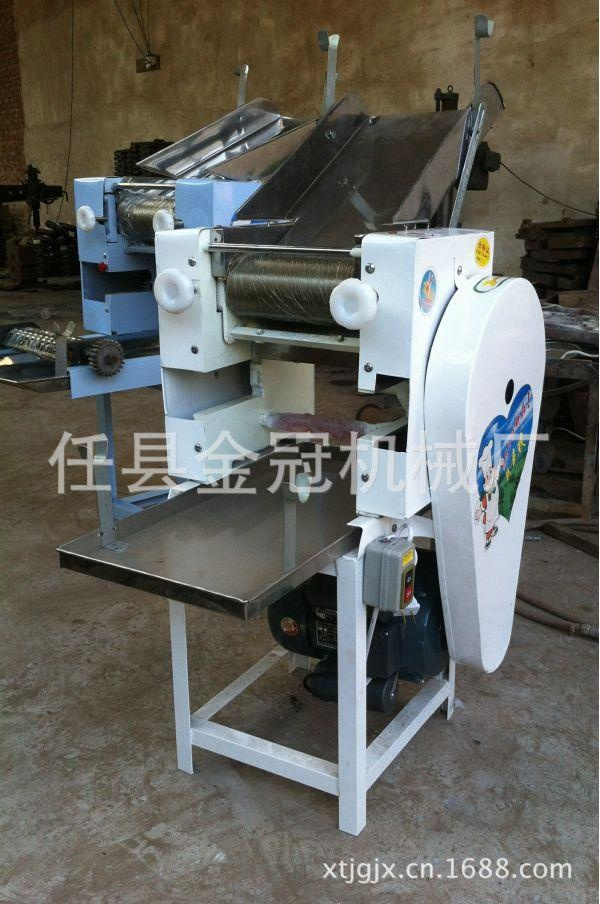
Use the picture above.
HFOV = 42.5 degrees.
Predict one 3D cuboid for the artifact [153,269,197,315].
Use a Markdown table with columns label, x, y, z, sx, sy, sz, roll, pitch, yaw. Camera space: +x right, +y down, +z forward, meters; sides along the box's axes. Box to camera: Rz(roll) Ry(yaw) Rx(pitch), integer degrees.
| label | x | y | z | sx | sy | sz | roll | pitch | yaw |
| --- | --- | --- | --- | --- | --- | --- | --- | --- | --- |
| artifact | -0.250 | -0.316 | 1.521 | 0.098 | 0.087 | 0.050 | 11 | 18 | 38 |

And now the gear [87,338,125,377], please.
| label | x | y | z | sx | sy | sz | roll | pitch | yaw |
| --- | --- | --- | --- | --- | --- | --- | --- | --- | --- |
| gear | -0.590 | -0.287 | 2.334 | 0.038 | 0.115 | 0.114 | 11 | 19 | 37 |

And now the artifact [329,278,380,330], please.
| label | x | y | z | sx | sy | sz | roll | pitch | yaw |
| --- | --- | --- | --- | --- | --- | --- | --- | --- | --- |
| artifact | 0.096 | -0.246 | 1.281 | 0.046 | 0.082 | 0.085 | -13 | 19 | -40 |

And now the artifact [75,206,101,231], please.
| label | x | y | z | sx | sy | sz | roll | pitch | yaw |
| --- | --- | --- | --- | --- | --- | --- | --- | --- | --- |
| artifact | -0.733 | -0.819 | 2.693 | 0.029 | 0.084 | 0.084 | -13 | -1 | -37 |
